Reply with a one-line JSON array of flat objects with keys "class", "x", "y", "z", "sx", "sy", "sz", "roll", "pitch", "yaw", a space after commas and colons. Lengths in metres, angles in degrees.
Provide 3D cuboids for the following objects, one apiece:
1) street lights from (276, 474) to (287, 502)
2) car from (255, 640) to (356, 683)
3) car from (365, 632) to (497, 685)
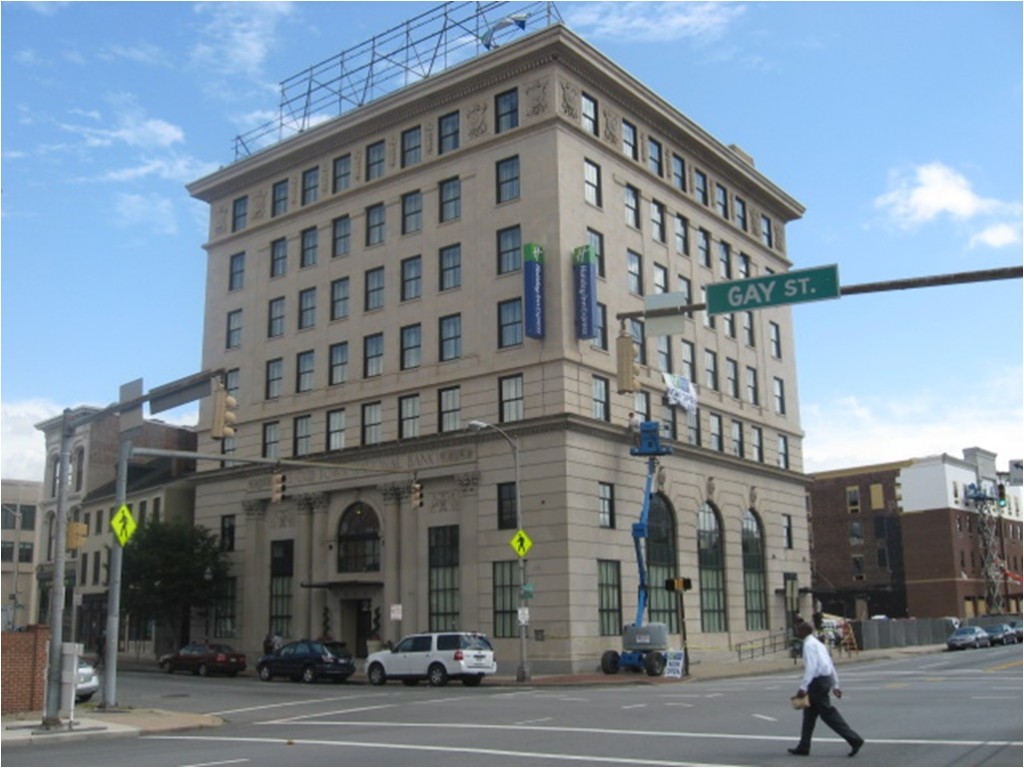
[{"class": "street lights", "x": -9.291, "y": 4.134, "z": 43.909, "sx": 0.338, "sy": 1.036, "sz": 0.667, "roll": -1, "pitch": -18, "yaw": -4}, {"class": "car", "x": -9.209, "y": 12.894, "z": 49.856, "sx": 3.593, "sy": 2.194, "sz": 3.195, "roll": 6, "pitch": -11, "yaw": -26}, {"class": "car", "x": -3.276, "y": 11.663, "z": 45.571, "sx": 5.754, "sy": 2.468, "sz": 2.844, "roll": -8, "pitch": -14, "yaw": 37}]
